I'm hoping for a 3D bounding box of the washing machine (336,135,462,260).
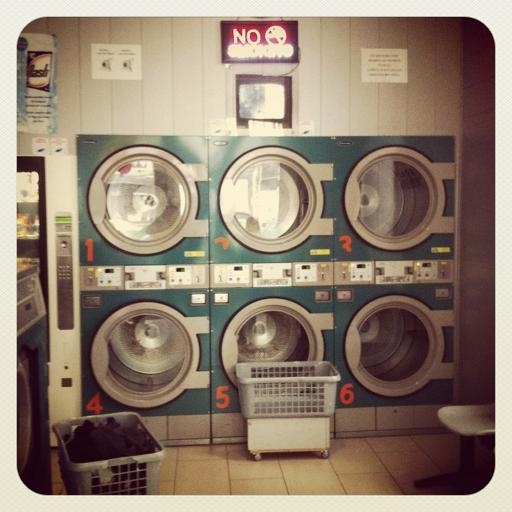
[{"bbox_3d":[0.749,-0.353,2.999,0.639,0.693,0.375,2,22,18],"label":"washing machine"}]

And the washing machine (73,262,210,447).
[{"bbox_3d":[-0.563,0.421,3.010,0.658,1.020,0.543,0,14,-7],"label":"washing machine"}]

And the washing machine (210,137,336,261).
[{"bbox_3d":[0.089,-0.287,3.011,0.834,0.884,0.481,0,2,-4],"label":"washing machine"}]

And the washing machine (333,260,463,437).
[{"bbox_3d":[0.727,0.434,3.047,0.633,0.945,0.515,-3,9,1],"label":"washing machine"}]
